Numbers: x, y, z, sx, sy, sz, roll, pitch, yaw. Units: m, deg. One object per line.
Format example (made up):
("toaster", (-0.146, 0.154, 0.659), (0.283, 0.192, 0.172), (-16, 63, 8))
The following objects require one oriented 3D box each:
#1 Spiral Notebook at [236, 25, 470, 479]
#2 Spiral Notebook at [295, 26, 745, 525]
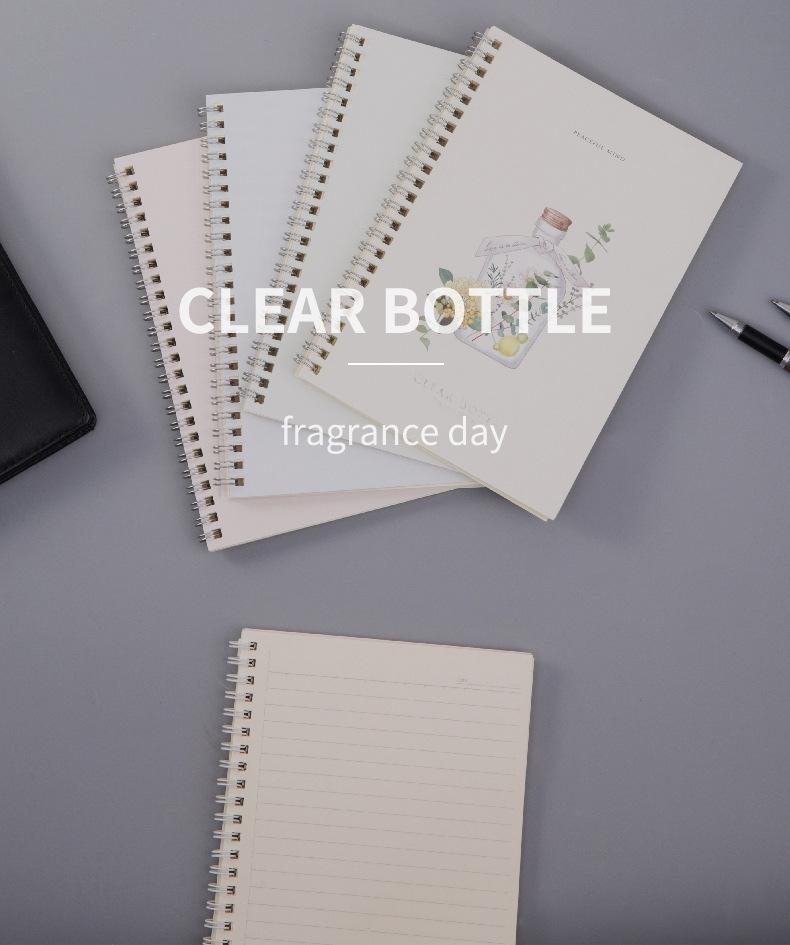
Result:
("Spiral Notebook", (-0.023, -0.176, 0.873), (0.257, 0.060, 0.322), (16, 86, 7))
("Spiral Notebook", (0.096, -0.164, 0.788), (0.237, 0.207, 0.300), (25, 57, 12))
